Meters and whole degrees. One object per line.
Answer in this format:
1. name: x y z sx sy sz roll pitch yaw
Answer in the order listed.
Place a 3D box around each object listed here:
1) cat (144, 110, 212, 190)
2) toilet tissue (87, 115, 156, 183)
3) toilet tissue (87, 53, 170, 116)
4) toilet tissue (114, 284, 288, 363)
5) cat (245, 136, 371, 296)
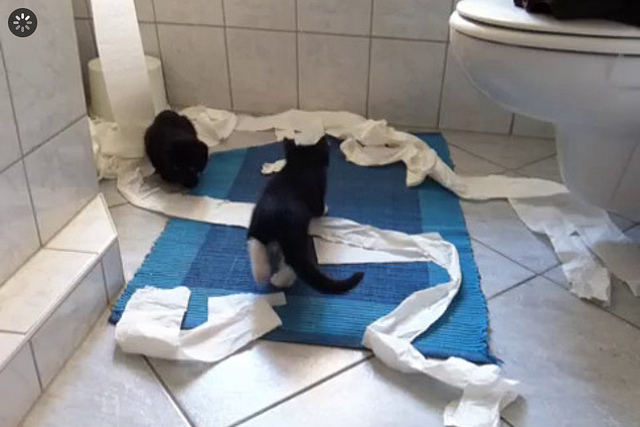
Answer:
1. cat: -0.531 -0.203 1.746 0.177 0.119 0.284 0 21 -28
2. toilet tissue: -0.796 -0.212 1.818 0.233 0.094 0.301 1 31 -8
3. toilet tissue: -0.826 -0.544 2.034 0.325 0.248 0.321 4 26 3
4. toilet tissue: -0.311 0.260 1.220 0.410 0.093 0.270 -4 31 -12
5. cat: -0.002 -0.016 1.378 0.272 0.200 0.463 11 60 16
